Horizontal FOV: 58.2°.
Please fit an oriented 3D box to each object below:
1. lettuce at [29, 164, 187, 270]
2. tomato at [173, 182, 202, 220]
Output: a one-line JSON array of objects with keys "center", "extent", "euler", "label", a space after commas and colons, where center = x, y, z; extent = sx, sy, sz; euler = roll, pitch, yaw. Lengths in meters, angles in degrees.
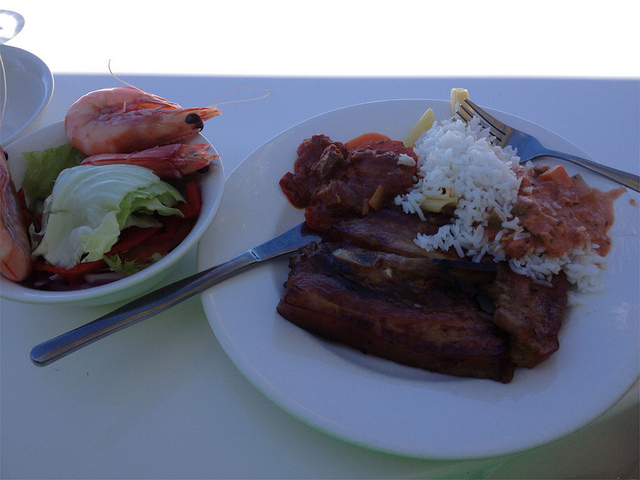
[{"center": [-0.762, -0.091, 2.088], "extent": [0.397, 0.424, 0.151], "euler": [7, -26, 23], "label": "lettuce"}, {"center": [-0.475, -0.143, 2.131], "extent": [0.110, 0.039, 0.123], "euler": [-4, 62, 1], "label": "tomato"}]
